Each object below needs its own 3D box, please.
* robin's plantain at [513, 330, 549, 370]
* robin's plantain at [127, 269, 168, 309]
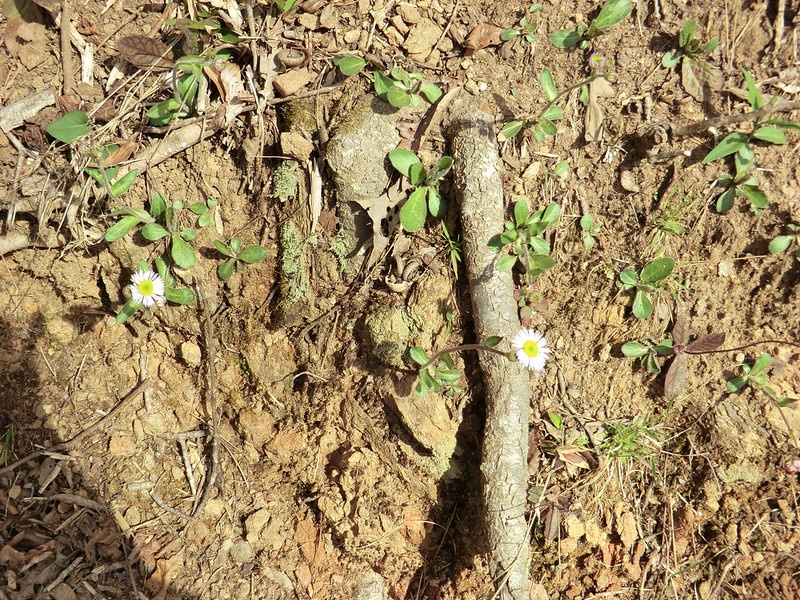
[{"bbox_3d":[0.725,0.306,4.015,0.230,0.040,0.211,53,53,-6],"label":"robin's plantain"},{"bbox_3d":[-1.522,-0.073,4.180,0.196,0.159,0.189,-25,71,-9],"label":"robin's plantain"}]
